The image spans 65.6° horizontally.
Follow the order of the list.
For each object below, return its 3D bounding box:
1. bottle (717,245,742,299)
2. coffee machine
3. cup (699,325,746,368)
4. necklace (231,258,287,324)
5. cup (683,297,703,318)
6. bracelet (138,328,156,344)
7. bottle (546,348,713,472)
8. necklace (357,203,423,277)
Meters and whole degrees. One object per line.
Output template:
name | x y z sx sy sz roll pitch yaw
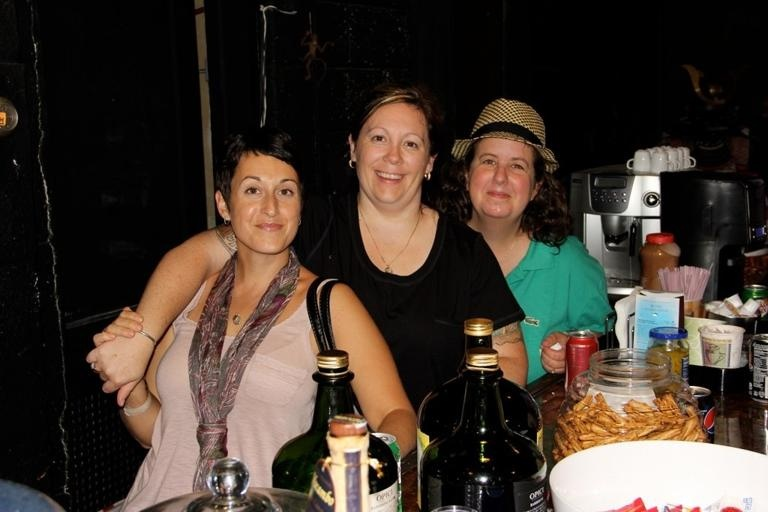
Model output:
bottle | 2.052 0.085 3.509 0.283 0.302 0.083 -3 5 -38
coffee machine | 1.518 -0.087 3.272 0.288 0.730 0.796 -6 9 -42
cup | 1.243 0.326 2.208 0.146 0.122 0.152 0 -3 0
necklace | -0.409 0.132 2.076 0.153 0.211 0.065 20 -3 13
cup | 1.196 0.202 2.306 0.077 0.080 0.079 0 0 0
bracelet | -0.817 0.275 2.052 0.048 0.013 0.046 30 -12 -13
bottle | 0.644 0.389 1.626 0.346 0.325 0.346 -2 -8 5
necklace | 0.021 -0.060 2.601 0.343 0.305 0.082 3 -2 1
